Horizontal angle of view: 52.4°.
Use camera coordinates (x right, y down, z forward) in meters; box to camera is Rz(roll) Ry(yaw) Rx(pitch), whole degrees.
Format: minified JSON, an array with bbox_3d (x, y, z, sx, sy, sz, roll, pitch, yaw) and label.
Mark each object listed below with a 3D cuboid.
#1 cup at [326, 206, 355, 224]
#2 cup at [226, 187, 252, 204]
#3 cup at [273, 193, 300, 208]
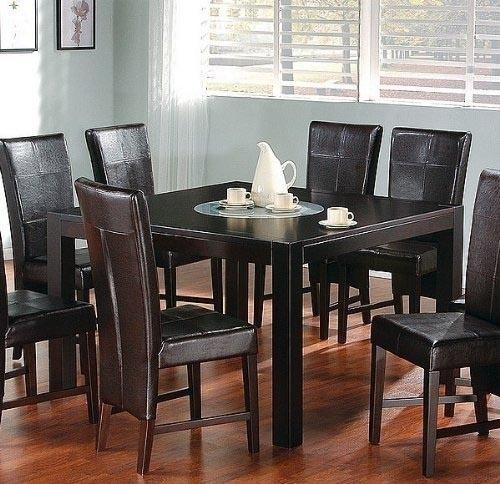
[{"bbox_3d":[0.311,-0.097,1.820,0.100,0.058,0.066,5,8,36],"label":"cup"},{"bbox_3d":[-0.045,-0.201,2.257,0.111,0.071,0.079,3,5,18],"label":"cup"},{"bbox_3d":[0.149,-0.169,2.122,0.100,0.054,0.072,2,5,22],"label":"cup"}]
